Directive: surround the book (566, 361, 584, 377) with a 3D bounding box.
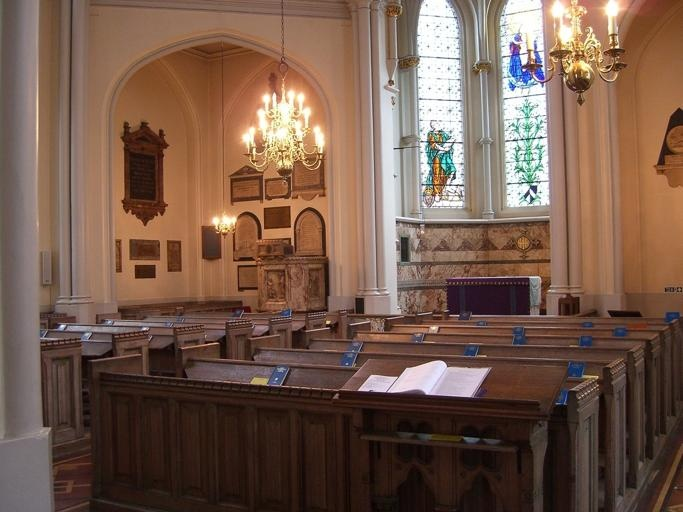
[{"bbox_3d":[1.670,0.811,4.223,0.105,0.118,0.152,-2,0,21],"label":"book"}]

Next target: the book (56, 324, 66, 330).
[{"bbox_3d":[-3.711,0.940,7.867,0.111,0.067,0.374,-3,0,-27],"label":"book"}]

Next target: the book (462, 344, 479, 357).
[{"bbox_3d":[1.134,0.830,5.212,0.128,0.152,0.035,-4,-39,38],"label":"book"}]

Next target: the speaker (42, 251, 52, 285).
[{"bbox_3d":[-5.075,0.208,10.174,0.079,0.558,0.198,-2,0,22],"label":"speaker"}]

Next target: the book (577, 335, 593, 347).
[{"bbox_3d":[2.297,0.815,5.593,0.110,0.125,0.028,3,-10,4],"label":"book"}]

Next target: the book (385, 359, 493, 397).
[{"bbox_3d":[0.561,0.695,3.382,0.562,0.183,0.422,-3,0,18],"label":"book"}]

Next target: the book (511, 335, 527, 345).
[{"bbox_3d":[1.776,0.837,5.903,0.104,0.117,0.027,6,-42,10],"label":"book"}]

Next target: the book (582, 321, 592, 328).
[{"bbox_3d":[2.748,0.766,6.619,0.090,0.024,0.092,0,28,22],"label":"book"}]

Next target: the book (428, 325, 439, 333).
[{"bbox_3d":[1.023,0.820,6.618,0.063,0.070,0.116,0,2,18],"label":"book"}]

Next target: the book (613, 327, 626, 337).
[{"bbox_3d":[2.779,0.762,5.916,0.061,0.086,0.120,-2,-1,17],"label":"book"}]

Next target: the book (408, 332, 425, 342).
[{"bbox_3d":[0.784,0.854,6.096,0.140,0.087,0.540,-3,0,9],"label":"book"}]

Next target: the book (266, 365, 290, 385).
[{"bbox_3d":[-0.494,0.907,4.481,0.153,0.137,0.147,-2,0,34],"label":"book"}]
